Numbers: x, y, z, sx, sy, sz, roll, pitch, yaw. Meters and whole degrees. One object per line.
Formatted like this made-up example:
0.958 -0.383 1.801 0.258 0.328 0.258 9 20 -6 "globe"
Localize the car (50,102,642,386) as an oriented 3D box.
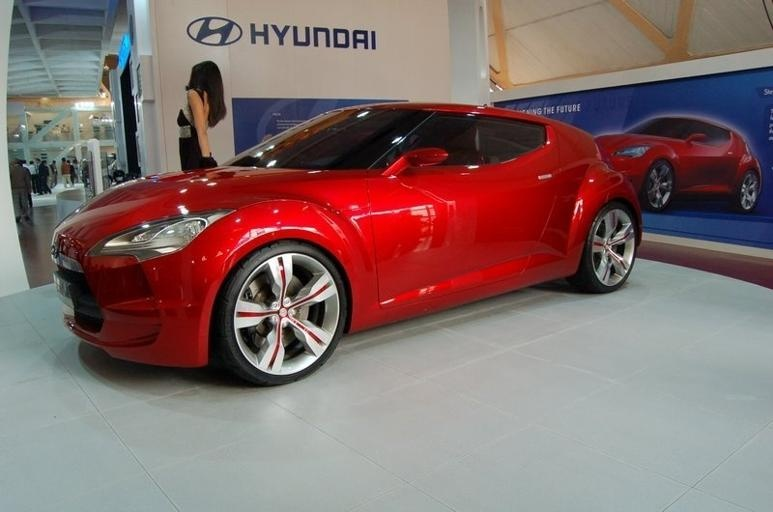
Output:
-0.097 -0.228 3.083 3.857 1.599 0.853 -12 19 -27 "car"
